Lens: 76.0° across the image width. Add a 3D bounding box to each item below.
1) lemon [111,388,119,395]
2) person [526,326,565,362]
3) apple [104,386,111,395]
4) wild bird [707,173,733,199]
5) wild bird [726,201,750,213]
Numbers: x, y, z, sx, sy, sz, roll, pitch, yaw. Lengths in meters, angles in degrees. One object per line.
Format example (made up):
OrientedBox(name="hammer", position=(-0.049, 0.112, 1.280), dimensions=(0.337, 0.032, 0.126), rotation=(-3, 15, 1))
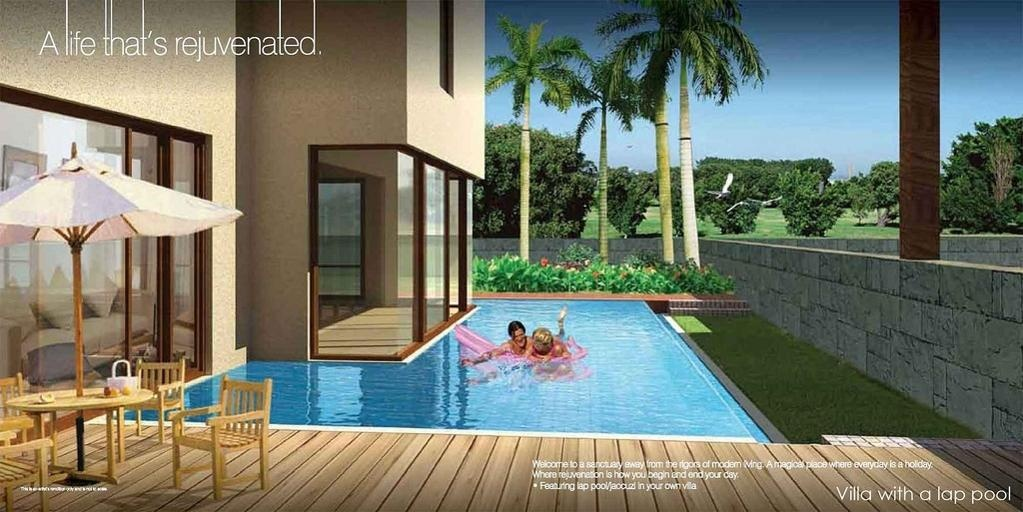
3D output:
OrientedBox(name="lemon", position=(-6.322, 2.179, 10.472), dimensions=(0.091, 0.078, 0.103), rotation=(0, -3, -5))
OrientedBox(name="person", position=(0.910, 2.176, 15.609), dimensions=(1.184, 0.657, 1.881), rotation=(0, -10, 16))
OrientedBox(name="apple", position=(-6.449, 2.168, 10.490), dimensions=(0.122, 0.098, 0.116), rotation=(-3, 1, -9))
OrientedBox(name="wild bird", position=(17.033, -5.705, 53.848), dimensions=(1.463, 0.847, 3.286), rotation=(4, 14, 29))
OrientedBox(name="wild bird", position=(18.299, -4.074, 53.637), dimensions=(1.289, 0.943, 1.823), rotation=(11, 16, 38))
